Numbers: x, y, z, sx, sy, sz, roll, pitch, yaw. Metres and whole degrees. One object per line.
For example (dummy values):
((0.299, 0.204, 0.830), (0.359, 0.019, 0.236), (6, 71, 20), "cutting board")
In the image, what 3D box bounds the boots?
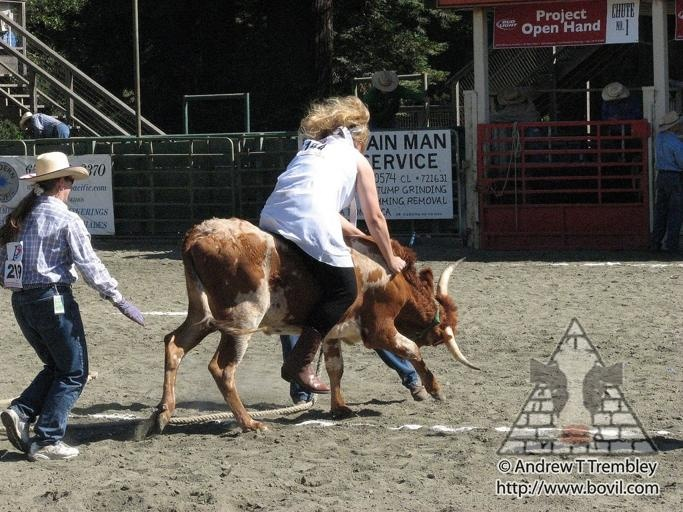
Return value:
((-0.276, 0.988, 10.484), (0.509, 0.494, 0.228), (22, 4, 11), "boots")

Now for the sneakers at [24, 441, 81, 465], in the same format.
((-2.600, 1.769, 10.158), (0.433, 0.196, 0.169), (0, 2, -12), "sneakers")

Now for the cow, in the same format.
((-0.165, 0.688, 11.051), (3.354, 1.874, 0.839), (2, -2, -31), "cow")

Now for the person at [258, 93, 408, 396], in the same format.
((-0.147, 0.033, 10.662), (1.225, 2.942, 0.754), (-13, 18, -39), "person")

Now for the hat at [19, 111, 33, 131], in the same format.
((-6.167, -2.629, 21.908), (0.097, 0.362, 0.353), (35, 40, 15), "hat")

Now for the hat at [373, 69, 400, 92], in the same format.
((0.786, -3.098, 20.208), (0.432, 0.399, 0.414), (-2, 14, -3), "hat")

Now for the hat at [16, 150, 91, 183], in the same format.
((-2.688, -0.761, 10.361), (0.408, 0.173, 0.436), (-16, -1, -33), "hat")
